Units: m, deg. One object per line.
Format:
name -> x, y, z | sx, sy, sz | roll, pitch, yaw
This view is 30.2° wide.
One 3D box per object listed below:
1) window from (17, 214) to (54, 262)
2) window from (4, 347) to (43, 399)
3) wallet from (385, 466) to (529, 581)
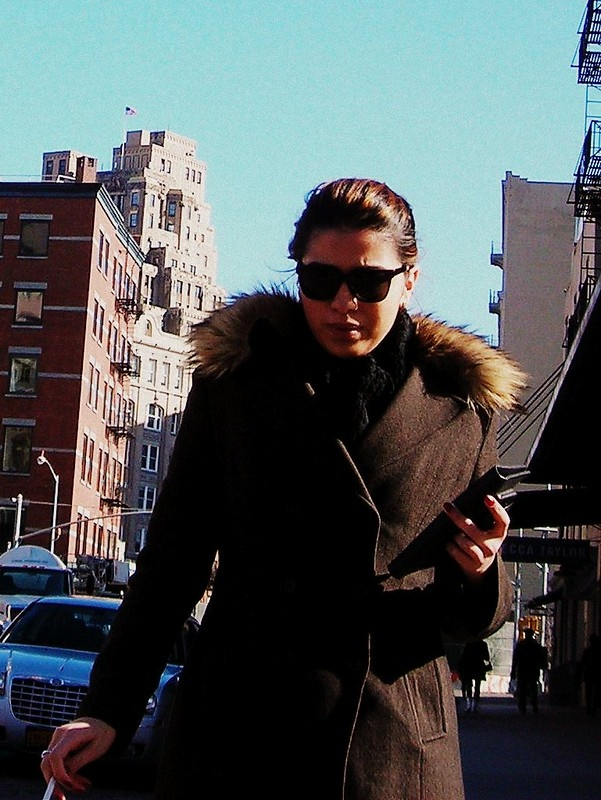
window -> -13.113, -7.910, 55.083 | 2.612, 3.016, 0.415 | 2, -21, -7
window -> -13.334, -1.337, 53.779 | 1.437, 2.389, 0.660 | 7, -7, -16
wallet -> 0.268, 0.197, 1.926 | 0.266, 0.059, 0.194 | -39, -13, 14
